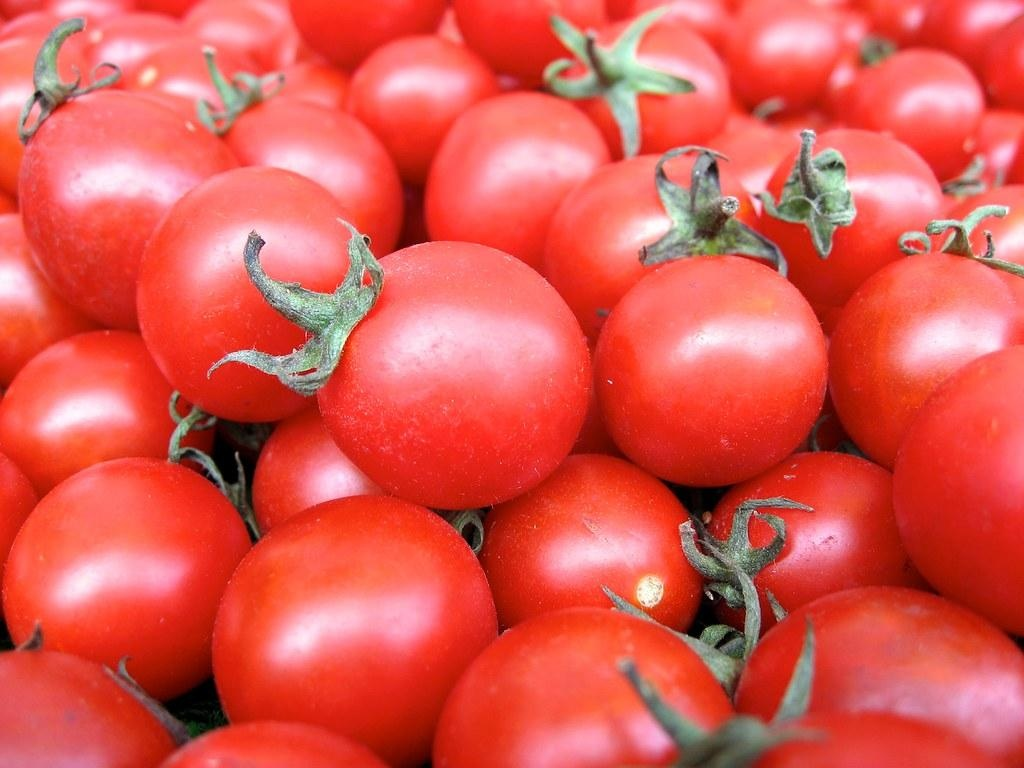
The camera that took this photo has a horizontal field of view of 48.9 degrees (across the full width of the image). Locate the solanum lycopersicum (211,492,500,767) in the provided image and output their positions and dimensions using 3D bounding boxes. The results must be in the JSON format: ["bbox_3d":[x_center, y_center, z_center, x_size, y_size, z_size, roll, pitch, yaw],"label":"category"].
[{"bbox_3d":[-0.133,0.247,1.080,0.233,0.233,0.227,1,49,39],"label":"solanum lycopersicum"}]

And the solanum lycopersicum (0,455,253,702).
[{"bbox_3d":[-0.349,0.182,1.152,0.183,0.238,0.192,25,91,31],"label":"solanum lycopersicum"}]
